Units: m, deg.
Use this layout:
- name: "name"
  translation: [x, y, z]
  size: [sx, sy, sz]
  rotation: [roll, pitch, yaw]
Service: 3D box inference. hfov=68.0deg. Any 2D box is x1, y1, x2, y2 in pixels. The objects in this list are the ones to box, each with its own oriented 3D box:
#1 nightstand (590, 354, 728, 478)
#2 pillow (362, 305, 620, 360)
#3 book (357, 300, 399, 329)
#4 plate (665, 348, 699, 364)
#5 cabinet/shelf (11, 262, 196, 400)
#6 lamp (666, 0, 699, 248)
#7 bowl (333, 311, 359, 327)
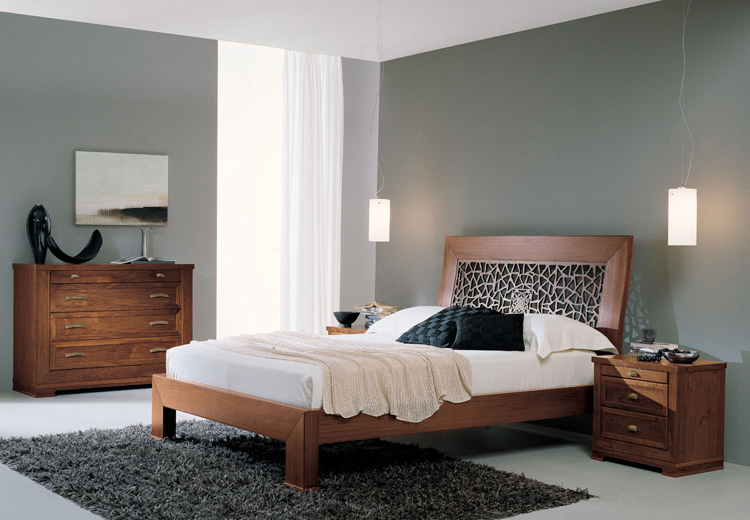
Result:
- name: "nightstand"
  translation: [2.029, 1.088, 4.035]
  size: [0.608, 0.670, 0.731]
  rotation: [8, -8, -25]
- name: "pillow"
  translation: [0.945, 0.571, 4.492]
  size: [1.154, 0.237, 0.736]
  rotation: [5, 2, 31]
- name: "book"
  translation: [0.029, 0.554, 5.869]
  size: [0.332, 0.229, 0.327]
  rotation: [2, -3, -44]
- name: "plate"
  translation: [2.095, 0.656, 3.800]
  size: [0.136, 0.048, 0.135]
  rotation: [0, -2, 12]
- name: "cabinet/shelf"
  translation: [-2.937, 0.757, 6.211]
  size: [1.628, 1.285, 0.851]
  rotation: [0, -4, -36]
- name: "lamp"
  translation: [2.327, -1.032, 4.175]
  size: [0.185, 1.861, 0.263]
  rotation: [0, -2, 30]
- name: "bowl"
  translation: [-0.304, 0.603, 5.847]
  size: [0.201, 0.107, 0.201]
  rotation: [0, 0, 0]
